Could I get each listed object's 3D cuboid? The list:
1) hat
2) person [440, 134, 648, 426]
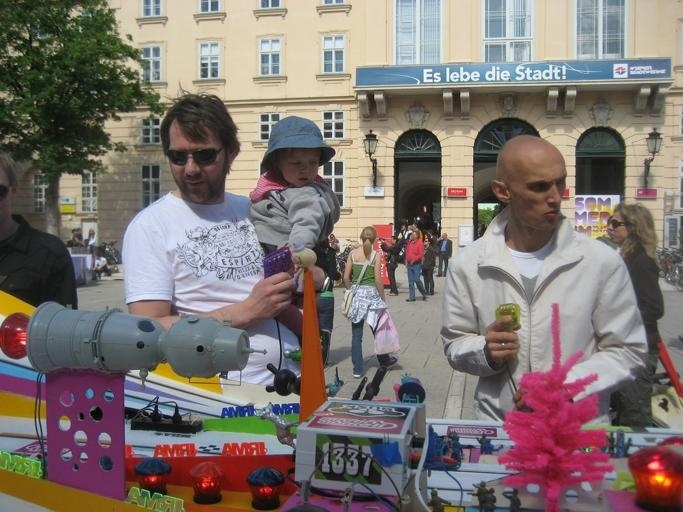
[{"bbox_3d":[-0.245,-0.696,5.198,0.458,0.305,0.578,-14,-5,-1],"label":"hat"},{"bbox_3d":[1.093,0.496,4.820,1.086,2.241,1.039,1,11,25],"label":"person"}]
